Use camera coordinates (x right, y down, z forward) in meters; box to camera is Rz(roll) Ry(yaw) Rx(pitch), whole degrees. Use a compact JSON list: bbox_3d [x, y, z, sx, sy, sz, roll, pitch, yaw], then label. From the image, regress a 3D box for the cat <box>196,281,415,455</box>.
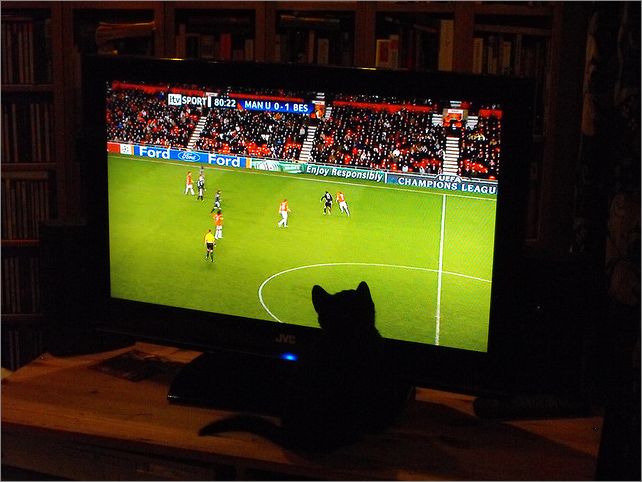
[{"bbox_3d":[-0.033,0.319,1.718,0.478,0.408,0.136,1,10,-11],"label":"cat"}]
